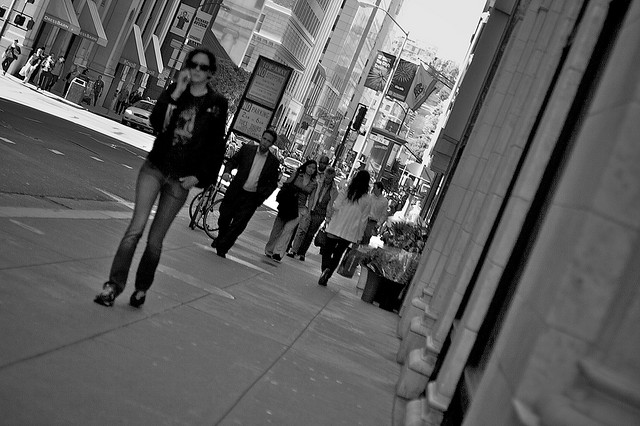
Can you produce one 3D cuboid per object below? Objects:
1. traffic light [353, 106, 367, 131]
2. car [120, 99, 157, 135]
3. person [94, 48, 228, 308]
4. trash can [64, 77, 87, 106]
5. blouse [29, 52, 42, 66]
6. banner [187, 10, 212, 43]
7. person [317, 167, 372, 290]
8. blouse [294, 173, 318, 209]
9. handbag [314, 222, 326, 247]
[{"bbox_3d":[2.358,-5.766,33.541,0.511,1.349,1.129,17,6,2],"label":"traffic light"},{"bbox_3d":[-13.513,-7.288,42.178,2.413,2.253,5.429,16,1,-22],"label":"car"},{"bbox_3d":[-1.601,-0.343,5.930,0.887,2.200,0.502,14,6,-29],"label":"person"},{"bbox_3d":[-17.018,-8.382,39.134,1.089,1.585,1.155,6,-15,38],"label":"trash can"},{"bbox_3d":[-18.132,-9.810,35.700,0.724,0.566,0.433,23,7,20],"label":"blouse"},{"bbox_3d":[-9.962,-15.492,45.979,1.230,2.090,2.082,14,8,-31],"label":"banner"},{"bbox_3d":[0.584,0.387,12.825,0.847,2.630,0.872,16,6,-8],"label":"person"},{"bbox_3d":[-0.393,-0.584,14.169,0.449,0.926,0.323,23,8,-12],"label":"blouse"},{"bbox_3d":[0.009,0.661,16.999,0.130,0.648,0.420,16,-4,-10],"label":"handbag"}]
